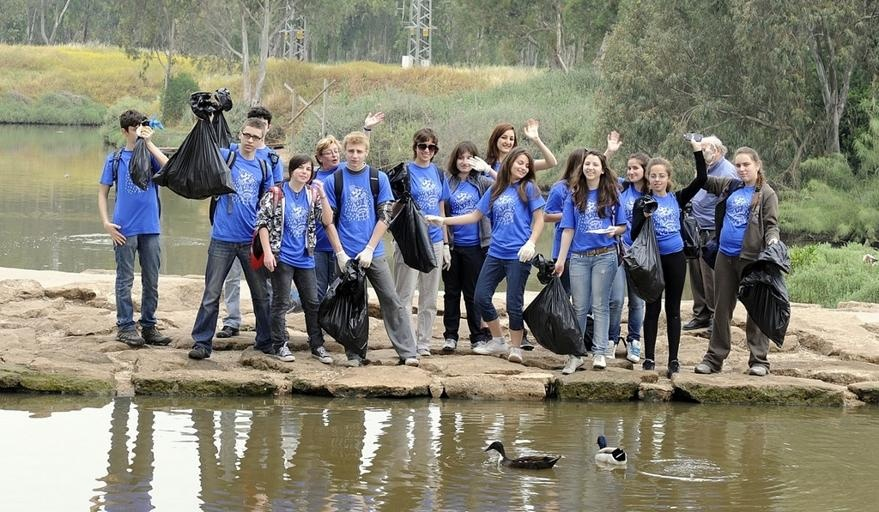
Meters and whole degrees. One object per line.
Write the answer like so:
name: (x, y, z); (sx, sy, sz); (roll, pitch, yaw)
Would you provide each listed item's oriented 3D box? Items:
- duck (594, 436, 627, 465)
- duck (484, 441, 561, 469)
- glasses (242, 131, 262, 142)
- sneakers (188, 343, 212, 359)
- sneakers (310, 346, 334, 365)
duck: (3.542, 4.119, 26.494); (0.419, 0.477, 0.718); (0, 1, -26)
duck: (1.720, 4.159, 26.317); (1.525, 0.544, 0.312); (0, 5, 6)
glasses: (-4.154, -2.633, 28.040); (0.395, 0.209, 0.129); (-1, 5, -9)
sneakers: (-5.294, 2.117, 28.051); (0.270, 0.221, 0.614); (-4, 7, -7)
sneakers: (-2.602, 2.241, 28.391); (0.245, 0.254, 0.655); (-14, 19, -40)
